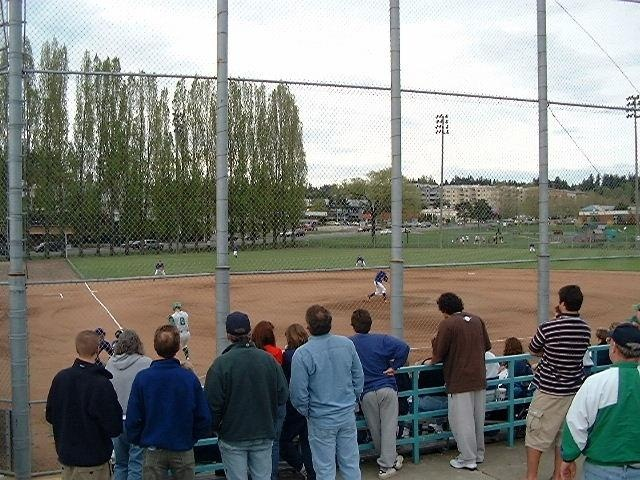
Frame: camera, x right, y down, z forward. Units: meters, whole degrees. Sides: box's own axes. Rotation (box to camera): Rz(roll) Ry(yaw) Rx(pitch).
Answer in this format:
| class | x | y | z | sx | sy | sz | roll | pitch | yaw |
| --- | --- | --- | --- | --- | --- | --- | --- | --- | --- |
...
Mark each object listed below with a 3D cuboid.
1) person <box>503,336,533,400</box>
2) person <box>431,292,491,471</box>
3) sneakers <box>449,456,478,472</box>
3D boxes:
| class | x | y | z | sx | sy | sz | roll | pitch | yaw |
| --- | --- | --- | --- | --- | --- | --- | --- | --- | --- |
| person | 2.920 | 1.904 | 12.994 | 0.321 | 1.160 | 0.334 | 9 | 38 | 23 |
| person | 1.943 | 1.922 | 11.996 | 0.800 | 2.427 | 0.425 | -2 | 0 | 0 |
| sneakers | 1.949 | 3.005 | 11.855 | 0.353 | 0.199 | 0.151 | 7 | 5 | 21 |
